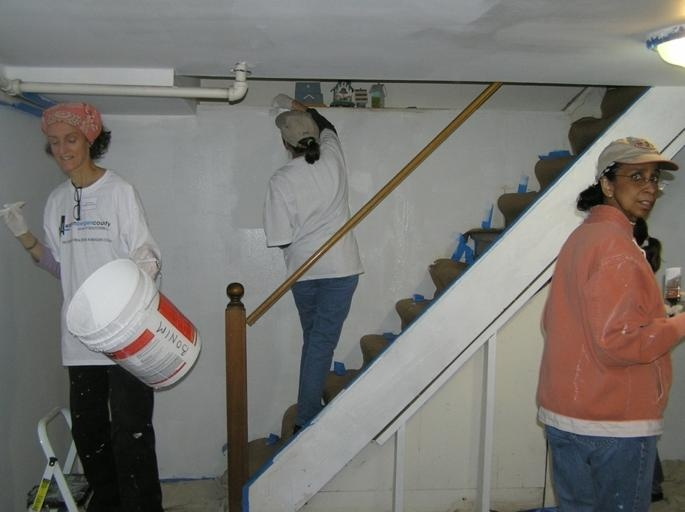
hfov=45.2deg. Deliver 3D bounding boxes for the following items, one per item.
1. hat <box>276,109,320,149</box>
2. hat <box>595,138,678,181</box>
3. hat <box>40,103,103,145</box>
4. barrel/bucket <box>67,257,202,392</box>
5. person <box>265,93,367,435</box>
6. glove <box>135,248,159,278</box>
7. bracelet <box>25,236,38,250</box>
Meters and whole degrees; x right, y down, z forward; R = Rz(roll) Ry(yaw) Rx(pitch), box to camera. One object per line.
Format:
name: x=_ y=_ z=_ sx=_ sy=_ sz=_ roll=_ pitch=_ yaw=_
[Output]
hat: x=-0.252 y=-0.703 z=4.413 sx=0.167 sy=0.239 sz=0.102 roll=-10 pitch=-34 yaw=-29
hat: x=1.239 y=-0.436 z=3.536 sx=0.187 sy=0.130 sz=0.260 roll=0 pitch=-6 yaw=-39
hat: x=-1.223 y=-0.610 z=3.730 sx=0.184 sy=0.135 sz=0.218 roll=1 pitch=-28 yaw=-2
barrel/bucket: x=-0.880 y=0.304 z=3.495 sx=0.547 sy=0.572 sz=0.197 roll=2 pitch=9 yaw=-13
person: x=-0.148 y=0.028 z=4.329 sx=0.469 sy=1.708 sz=0.750 roll=0 pitch=9 yaw=-23
glove: x=-0.873 y=0.030 z=3.651 sx=0.064 sy=0.116 sz=0.090 roll=-37 pitch=-1 yaw=-17
bracelet: x=-1.479 y=-0.065 z=3.913 sx=0.041 sy=0.056 sz=0.030 roll=31 pitch=1 yaw=-24
